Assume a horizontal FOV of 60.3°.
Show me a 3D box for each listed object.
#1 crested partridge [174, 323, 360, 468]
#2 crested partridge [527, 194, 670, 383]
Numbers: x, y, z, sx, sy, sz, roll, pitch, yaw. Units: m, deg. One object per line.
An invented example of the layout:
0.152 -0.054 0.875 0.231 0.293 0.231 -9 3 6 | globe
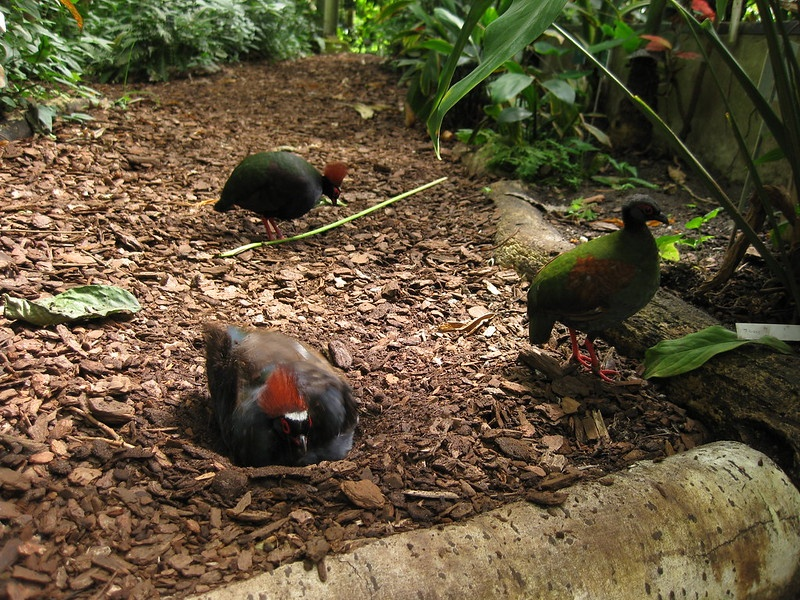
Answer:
-0.667 0.537 3.782 0.709 0.507 0.906 -17 35 -41 | crested partridge
1.076 -0.118 3.798 0.641 0.950 0.292 13 29 7 | crested partridge
